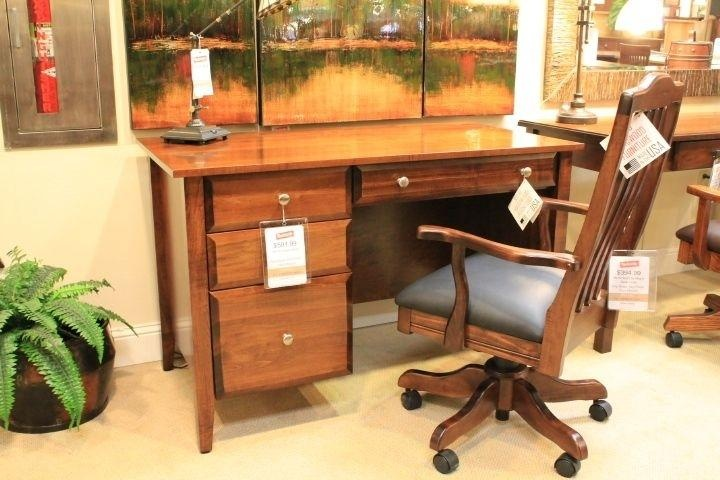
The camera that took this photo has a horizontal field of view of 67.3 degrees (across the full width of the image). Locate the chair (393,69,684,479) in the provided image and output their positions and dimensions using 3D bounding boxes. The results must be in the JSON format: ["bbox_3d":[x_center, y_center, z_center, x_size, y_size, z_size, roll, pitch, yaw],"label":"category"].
[{"bbox_3d":[0.676,0.147,2.117,1.077,1.493,0.590,-2,21,3],"label":"chair"}]

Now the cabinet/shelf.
[{"bbox_3d":[-0.488,0.161,2.411,0.729,0.913,0.668,-6,12,-31],"label":"cabinet/shelf"}]

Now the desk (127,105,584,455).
[{"bbox_3d":[-0.006,0.108,2.828,2.026,1.131,0.928,-8,17,-28],"label":"desk"}]
